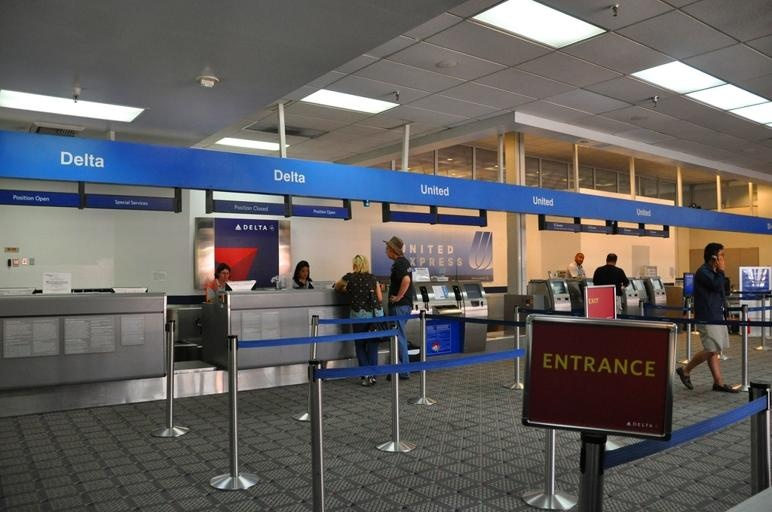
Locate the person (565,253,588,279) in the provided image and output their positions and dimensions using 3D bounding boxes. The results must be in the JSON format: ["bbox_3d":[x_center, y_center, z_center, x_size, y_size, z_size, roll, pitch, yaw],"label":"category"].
[{"bbox_3d":[4.267,0.233,12.222,0.339,0.619,1.201,-1,0,18],"label":"person"}]

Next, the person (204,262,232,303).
[{"bbox_3d":[-2.610,0.418,8.466,0.354,0.553,1.478,-1,0,-17],"label":"person"}]

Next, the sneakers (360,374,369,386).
[{"bbox_3d":[-0.312,1.853,8.021,0.125,0.083,0.182,2,-6,-14],"label":"sneakers"}]

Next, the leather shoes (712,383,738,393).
[{"bbox_3d":[4.690,1.803,7.377,0.440,0.141,0.140,-5,-4,14],"label":"leather shoes"}]

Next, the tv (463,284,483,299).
[{"bbox_3d":[1.663,0.669,10.319,0.349,0.279,0.084,5,-23,-25],"label":"tv"}]

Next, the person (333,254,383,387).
[{"bbox_3d":[-0.349,0.942,8.000,0.647,1.843,0.916,-1,0,-16],"label":"person"}]

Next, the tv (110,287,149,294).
[{"bbox_3d":[-3.730,0.495,7.887,0.429,0.065,1.308,0,0,-27],"label":"tv"}]

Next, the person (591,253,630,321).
[{"bbox_3d":[4.519,0.582,10.919,0.608,1.262,2.349,-1,0,24],"label":"person"}]

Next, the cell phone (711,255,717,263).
[{"bbox_3d":[4.457,0.039,7.373,0.073,0.086,0.037,8,10,3],"label":"cell phone"}]
